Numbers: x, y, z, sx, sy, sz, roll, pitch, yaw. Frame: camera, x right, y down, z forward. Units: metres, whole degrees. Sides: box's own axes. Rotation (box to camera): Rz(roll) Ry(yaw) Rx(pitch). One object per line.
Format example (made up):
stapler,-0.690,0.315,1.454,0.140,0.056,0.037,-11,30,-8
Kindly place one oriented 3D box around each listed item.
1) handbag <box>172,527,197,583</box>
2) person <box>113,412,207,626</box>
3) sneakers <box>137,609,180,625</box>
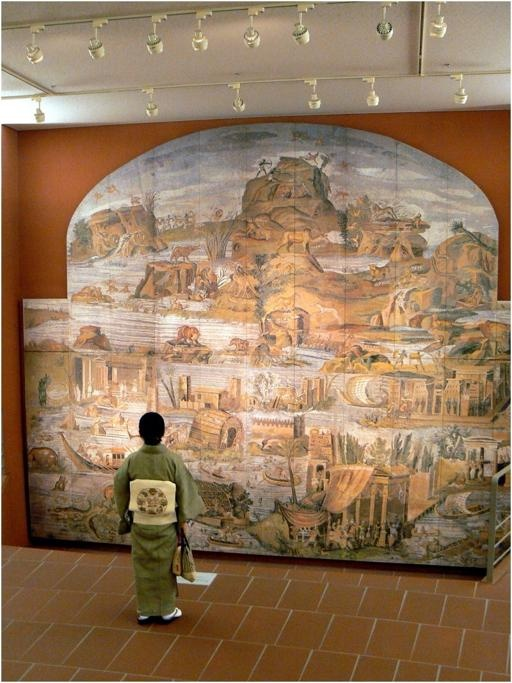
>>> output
handbag,-0.536,1.566,4.496,0.154,0.423,0.258,-1,1,-7
person,-0.721,1.268,4.547,0.670,1.512,0.300,-1,1,-3
sneakers,-0.711,1.999,4.508,0.305,0.106,0.103,-3,17,-13
